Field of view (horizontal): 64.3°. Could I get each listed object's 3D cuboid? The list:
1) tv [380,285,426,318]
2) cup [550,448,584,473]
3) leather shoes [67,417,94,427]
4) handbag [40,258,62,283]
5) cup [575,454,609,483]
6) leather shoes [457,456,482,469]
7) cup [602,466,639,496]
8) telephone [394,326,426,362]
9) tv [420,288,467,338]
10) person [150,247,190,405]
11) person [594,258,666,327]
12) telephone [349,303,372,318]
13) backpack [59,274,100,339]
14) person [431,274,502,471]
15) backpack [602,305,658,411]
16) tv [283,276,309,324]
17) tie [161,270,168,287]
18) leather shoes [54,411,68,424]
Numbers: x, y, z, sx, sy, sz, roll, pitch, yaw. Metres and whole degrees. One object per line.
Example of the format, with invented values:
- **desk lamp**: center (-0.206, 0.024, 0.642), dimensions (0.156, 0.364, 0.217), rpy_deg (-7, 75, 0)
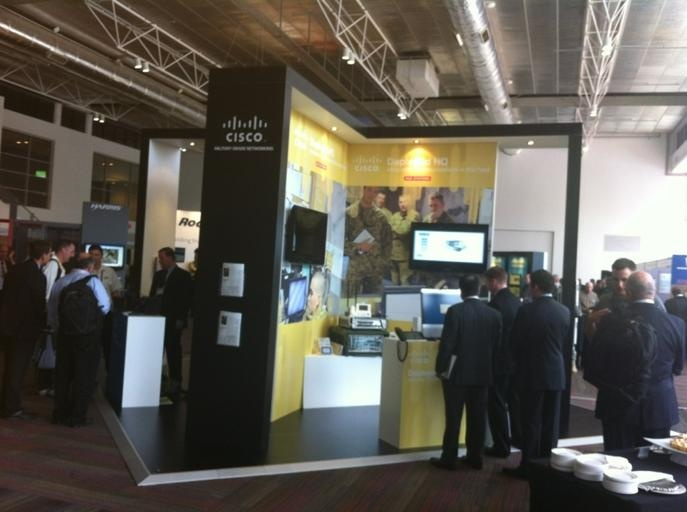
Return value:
- **tv**: center (0.779, 0.590, 7.307), dimensions (0.643, 0.660, 0.349), rpy_deg (1, 5, 10)
- **cup**: center (1.446, 1.344, 3.594), dimensions (0.135, 0.080, 0.140), rpy_deg (1, 1, 0)
- **leather shoes**: center (-2.741, 1.754, 5.744), dimensions (0.242, 0.084, 0.097), rpy_deg (1, 3, -33)
- **handbag**: center (-3.656, 0.184, 6.920), dimensions (0.221, 0.320, 0.275), rpy_deg (7, 5, -28)
- **cup**: center (1.580, 1.360, 3.520), dimensions (0.192, 0.130, 0.247), rpy_deg (5, 3, 29)
- **leather shoes**: center (1.213, 1.978, 5.255), dimensions (0.079, 0.101, 0.223), rpy_deg (-2, 7, -27)
- **cup**: center (1.690, 1.387, 3.370), dimensions (0.209, 0.121, 0.216), rpy_deg (3, 3, 0)
- **telephone**: center (0.625, 0.922, 5.698), dimensions (0.156, 0.294, 0.278), rpy_deg (2, -1, 18)
- **tv**: center (1.015, 0.607, 5.633), dimensions (0.526, 0.555, 0.171), rpy_deg (0, -5, 2)
- **person**: center (-2.227, 0.823, 7.093), dimensions (0.498, 1.827, 0.880), rpy_deg (2, 2, -20)
- **person**: center (3.210, 0.374, 6.288), dimensions (0.826, 0.727, 0.447), rpy_deg (1, 15, 33)
- **telephone**: center (0.222, 0.730, 7.097), dimensions (0.227, 0.167, 0.167), rpy_deg (1, -12, -3)
- **backpack**: center (-2.748, 0.531, 5.764), dimensions (0.392, 0.604, 0.217), rpy_deg (2, 2, -29)
- **person**: center (1.175, 1.105, 5.201), dimensions (0.628, 1.261, 0.265), rpy_deg (2, 2, -25)
- **backpack**: center (2.287, 0.833, 4.430), dimensions (0.179, 0.687, 0.351), rpy_deg (1, 3, -36)
- **tv**: center (-0.552, 0.509, 6.459), dimensions (0.020, 0.549, 0.659), rpy_deg (3, 3, 21)
- **tie**: center (-2.366, 0.297, 7.295), dimensions (0.138, 0.211, 0.053), rpy_deg (6, -3, 38)
- **leather shoes**: center (-2.960, 1.721, 5.759), dimensions (0.096, 0.051, 0.132), rpy_deg (6, 2, -21)
